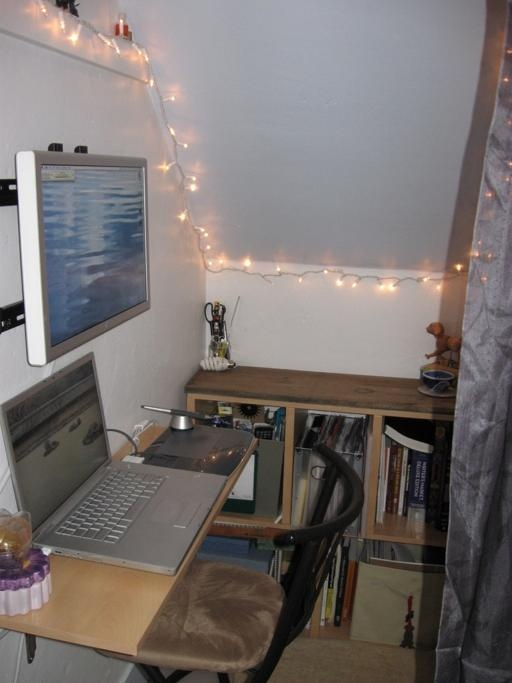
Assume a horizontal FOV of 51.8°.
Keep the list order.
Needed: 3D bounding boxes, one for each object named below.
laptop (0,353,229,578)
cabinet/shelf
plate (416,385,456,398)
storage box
[{"bbox_3d":[-0.265,0.307,1.130,0.364,0.323,0.439,7,19,6],"label":"laptop"},{"bbox_3d":[0.247,0.583,1.822,1.026,0.968,0.359,4,2,6],"label":"cabinet/shelf"},{"bbox_3d":[0.712,0.201,2.095,0.152,0.034,0.111,8,12,30],"label":"plate"},{"bbox_3d":[0.590,1.016,2.166,0.393,0.361,0.233,2,16,0],"label":"storage box"}]
